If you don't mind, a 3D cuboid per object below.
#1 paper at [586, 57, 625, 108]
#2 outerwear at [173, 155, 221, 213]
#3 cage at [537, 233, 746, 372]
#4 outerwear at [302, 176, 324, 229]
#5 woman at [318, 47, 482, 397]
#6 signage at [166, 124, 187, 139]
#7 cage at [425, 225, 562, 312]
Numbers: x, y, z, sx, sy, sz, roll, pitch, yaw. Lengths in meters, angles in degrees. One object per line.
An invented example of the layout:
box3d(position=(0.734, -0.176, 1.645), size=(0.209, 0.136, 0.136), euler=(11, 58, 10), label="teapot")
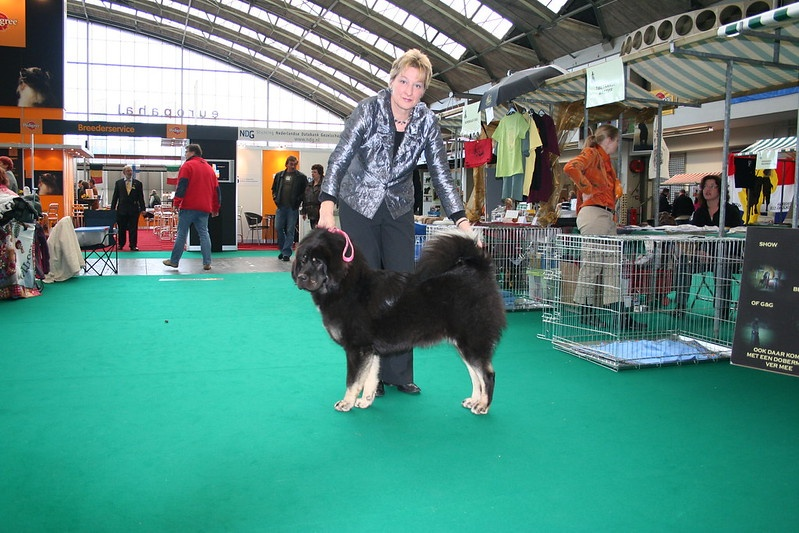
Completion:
box3d(position=(2.406, -2.165, 6.070), size=(0.457, 0.465, 0.047), euler=(-9, 23, 1), label="paper")
box3d(position=(-4.291, -1.753, 10.933), size=(0.479, 1.140, 1.149), euler=(7, 6, 28), label="outerwear")
box3d(position=(2.690, 0.322, 5.806), size=(2.193, 1.545, 1.257), euler=(2, 4, -28), label="cage")
box3d(position=(-2.168, -1.524, 12.948), size=(0.636, 1.364, 0.428), euler=(1, 19, -8), label="outerwear")
box3d(position=(-0.091, -0.443, 4.253), size=(1.114, 2.528, 0.681), euler=(4, 30, -1), label="woman")
box3d(position=(-6.220, -3.797, 14.354), size=(0.655, 0.459, 0.357), euler=(0, 2, -8), label="signage")
box3d(position=(0.992, -0.020, 5.093), size=(1.162, 0.787, 0.666), euler=(0, -1, -11), label="cage")
